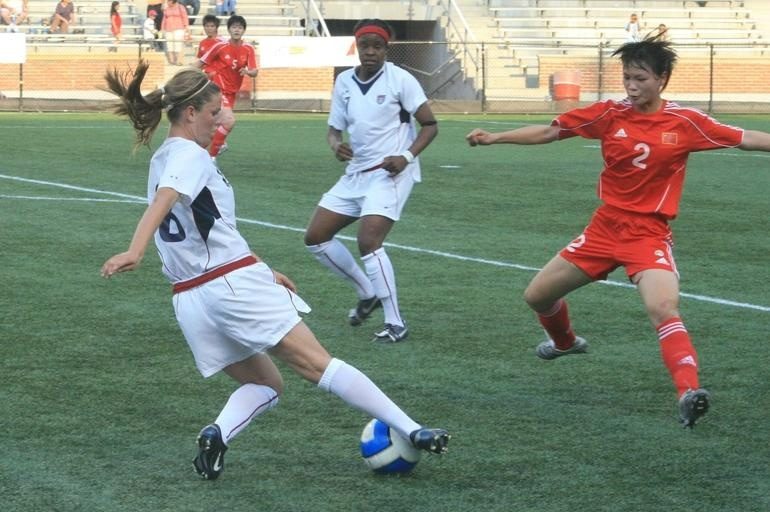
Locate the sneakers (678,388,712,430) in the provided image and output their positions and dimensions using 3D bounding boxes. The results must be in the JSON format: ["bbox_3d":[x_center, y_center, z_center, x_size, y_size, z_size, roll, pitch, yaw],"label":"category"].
[{"bbox_3d":[1.535,0.765,4.020,0.113,0.210,0.098,32,38,-5],"label":"sneakers"}]

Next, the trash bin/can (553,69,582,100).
[{"bbox_3d":[5.727,-5.352,25.147,0.991,0.928,0.949,-1,3,1],"label":"trash bin/can"}]

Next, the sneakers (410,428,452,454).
[{"bbox_3d":[0.214,0.873,3.821,0.194,0.094,0.090,5,17,41],"label":"sneakers"}]

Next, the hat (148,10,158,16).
[{"bbox_3d":[-7.116,-7.420,24.606,0.211,0.091,0.143,-2,5,-22],"label":"hat"}]

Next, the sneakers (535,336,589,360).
[{"bbox_3d":[1.107,0.600,5.064,0.357,0.138,0.135,-6,10,6],"label":"sneakers"}]

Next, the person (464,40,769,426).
[{"bbox_3d":[1.475,-0.218,4.684,0.854,2.026,1.195,-12,14,-40],"label":"person"}]

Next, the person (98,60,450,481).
[{"bbox_3d":[-0.653,0.061,3.919,1.180,2.000,0.842,-6,11,-17],"label":"person"}]

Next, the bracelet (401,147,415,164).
[{"bbox_3d":[0.166,-0.709,5.780,0.075,0.101,0.103,-36,19,-11],"label":"bracelet"}]
